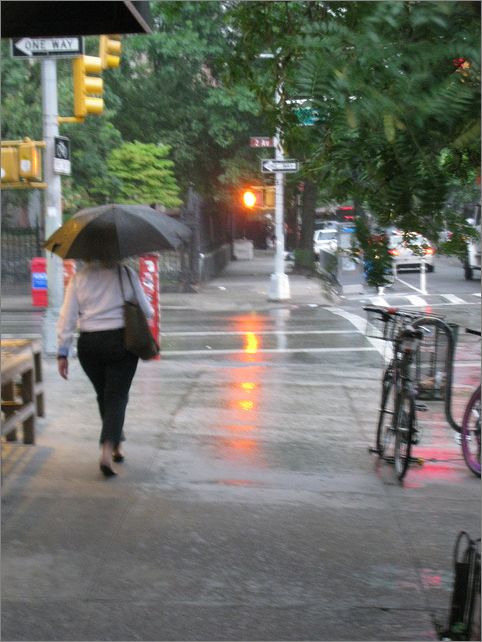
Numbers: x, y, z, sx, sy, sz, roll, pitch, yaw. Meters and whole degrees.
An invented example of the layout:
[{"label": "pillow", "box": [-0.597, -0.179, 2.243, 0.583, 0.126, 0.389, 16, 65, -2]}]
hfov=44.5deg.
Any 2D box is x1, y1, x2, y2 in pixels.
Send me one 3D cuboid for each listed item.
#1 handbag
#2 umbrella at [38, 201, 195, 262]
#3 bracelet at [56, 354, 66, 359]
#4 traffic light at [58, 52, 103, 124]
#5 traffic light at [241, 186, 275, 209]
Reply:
[{"label": "handbag", "box": [-0.864, -0.071, 4.877, 0.419, 0.772, 0.294, 5, 7, 39]}, {"label": "umbrella", "box": [-1.007, -0.756, 4.959, 1.126, 0.478, 0.679, 0, 5, -13]}, {"label": "bracelet", "box": [-1.504, 0.301, 4.971, 0.042, 0.031, 0.047, -2, 7, -3]}, {"label": "traffic light", "box": [-2.673, -4.084, 10.192, 0.544, 1.052, 1.152, -1, 6, -16]}, {"label": "traffic light", "box": [0.801, -4.153, 19.789, 1.266, 0.777, 0.948, 1, 7, 28]}]
